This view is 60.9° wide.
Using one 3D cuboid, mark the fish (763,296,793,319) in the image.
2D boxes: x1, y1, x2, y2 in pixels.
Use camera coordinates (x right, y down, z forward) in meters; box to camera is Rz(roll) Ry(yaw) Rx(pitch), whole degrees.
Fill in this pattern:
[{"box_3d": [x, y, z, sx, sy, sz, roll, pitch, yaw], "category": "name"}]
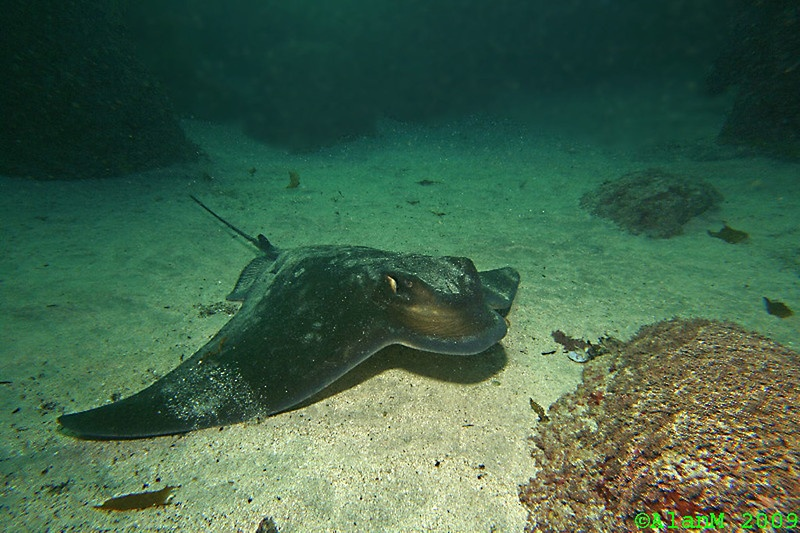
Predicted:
[{"box_3d": [6.198, 0.702, 11.165, 0.459, 0.096, 0.335, 18, 38, 26], "category": "fish"}]
